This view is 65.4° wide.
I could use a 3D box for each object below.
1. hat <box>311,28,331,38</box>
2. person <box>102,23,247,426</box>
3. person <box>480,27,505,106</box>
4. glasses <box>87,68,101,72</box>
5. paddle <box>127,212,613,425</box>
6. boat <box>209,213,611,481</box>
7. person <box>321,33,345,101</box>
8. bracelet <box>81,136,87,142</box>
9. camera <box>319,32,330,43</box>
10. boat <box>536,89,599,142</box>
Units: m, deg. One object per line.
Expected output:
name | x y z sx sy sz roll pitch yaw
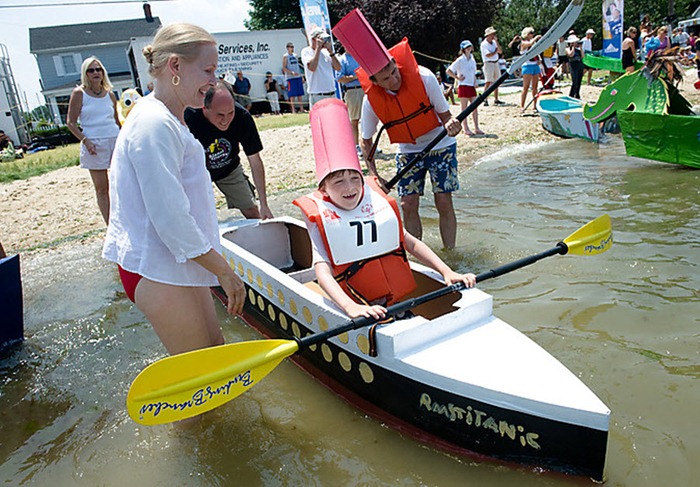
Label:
hat | -0.468 -3.211 8.330 0.305 0.129 0.208 11 30 20
person | -1.113 -0.095 3.450 0.876 2.428 0.539 -11 17 -19
person | 3.025 -3.742 11.561 0.494 1.568 0.437 -12 17 -21
glasses | -3.050 -2.058 6.488 0.046 0.051 0.171 9 22 40
paddle | 0.105 0.601 4.073 3.950 0.585 0.447 -18 -2 -16
boat | 0.117 0.815 4.505 1.154 1.089 3.757 -17 30 -32
person | -0.252 -2.772 8.633 0.229 1.024 0.296 -11 24 13
bracelet | -3.183 -1.242 6.512 0.060 0.066 0.014 -8 15 -42
camera | -0.378 -3.143 8.365 0.166 0.192 0.172 2 7 -10
boat | 4.214 -2.461 10.589 0.637 0.538 1.451 -22 34 -6
